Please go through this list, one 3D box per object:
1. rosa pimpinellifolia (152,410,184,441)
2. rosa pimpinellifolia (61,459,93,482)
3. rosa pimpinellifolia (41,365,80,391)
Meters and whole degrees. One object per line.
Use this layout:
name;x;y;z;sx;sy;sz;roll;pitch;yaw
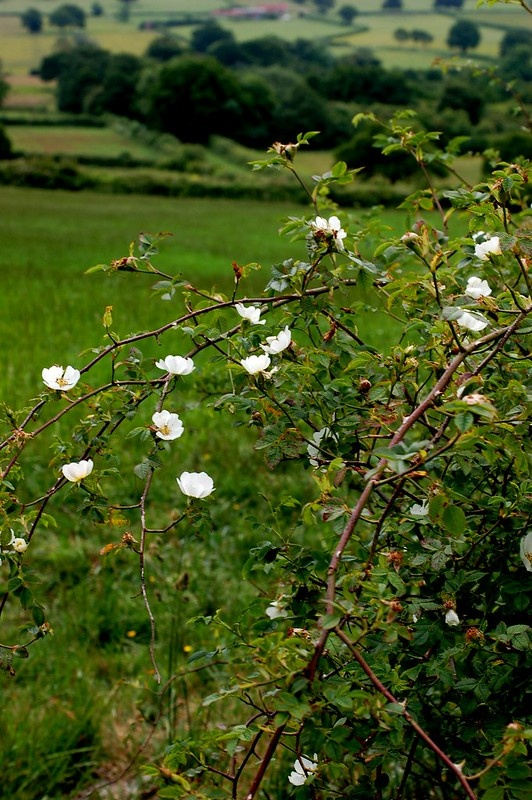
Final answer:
rosa pimpinellifolia;-0.250;0.064;2.877;0.039;0.066;0.070;-13;22;27
rosa pimpinellifolia;-0.436;0.167;2.866;0.076;0.053;0.064;-9;24;-21
rosa pimpinellifolia;-0.489;-0.046;2.942;0.087;0.037;0.070;-2;49;-34
